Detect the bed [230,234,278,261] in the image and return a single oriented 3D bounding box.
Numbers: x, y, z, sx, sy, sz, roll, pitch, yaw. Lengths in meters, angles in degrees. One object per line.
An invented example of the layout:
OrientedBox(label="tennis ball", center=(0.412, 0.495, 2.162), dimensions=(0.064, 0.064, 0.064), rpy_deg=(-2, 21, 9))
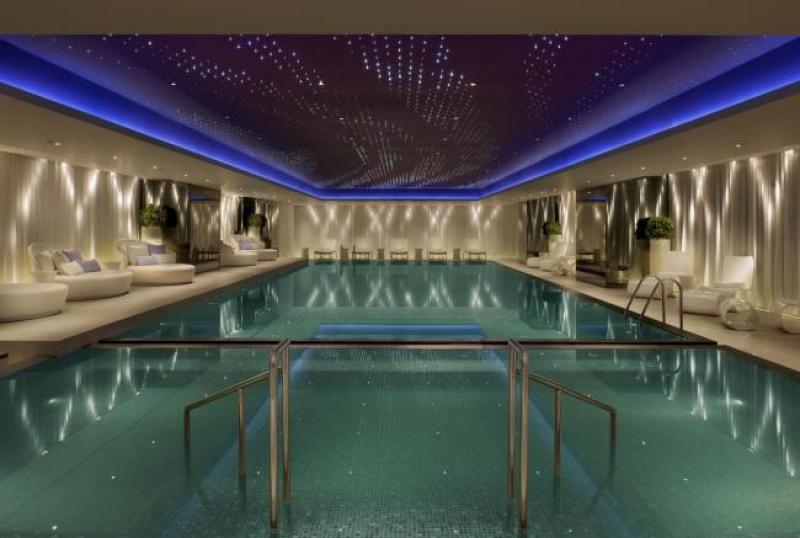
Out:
OrientedBox(label="bed", center=(-6.293, -1.015, 19.817), dimensions=(1.481, 0.937, 1.364), rpy_deg=(-1, -1, 23))

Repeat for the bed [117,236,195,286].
OrientedBox(label="bed", center=(-6.471, -0.177, 12.487), dimensions=(1.968, 1.125, 1.592), rpy_deg=(4, 5, 29))

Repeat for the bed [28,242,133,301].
OrientedBox(label="bed", center=(-6.731, 0.025, 9.970), dimensions=(1.821, 1.069, 1.576), rpy_deg=(0, 6, -12))
